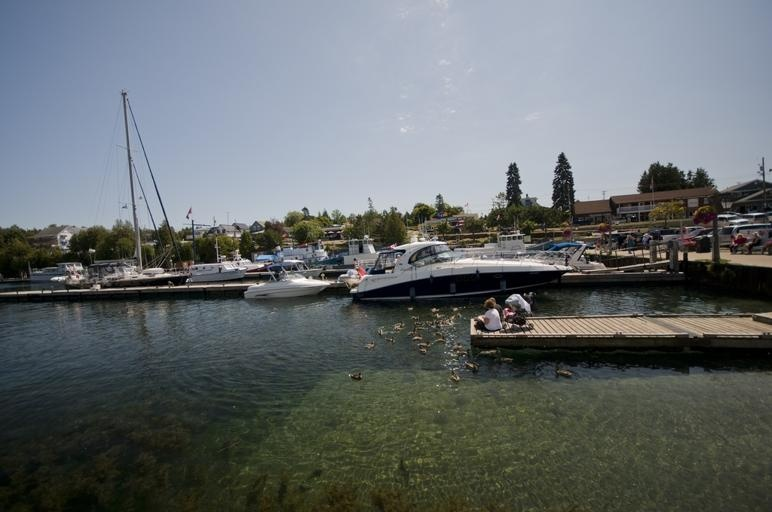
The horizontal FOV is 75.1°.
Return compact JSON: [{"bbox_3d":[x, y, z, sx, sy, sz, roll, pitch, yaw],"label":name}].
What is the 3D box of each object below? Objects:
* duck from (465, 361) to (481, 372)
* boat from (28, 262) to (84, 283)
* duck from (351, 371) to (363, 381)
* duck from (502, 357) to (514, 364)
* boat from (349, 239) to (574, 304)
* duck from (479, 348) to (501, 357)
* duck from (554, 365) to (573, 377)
[{"bbox_3d":[3.945,5.027,22.691,0.414,0.166,0.332,5,-5,-35],"label":"duck"},{"bbox_3d":[-50.078,2.628,76.530,11.173,3.402,2.763,-5,0,26],"label":"boat"},{"bbox_3d":[-1.370,5.450,22.777,0.629,0.212,0.896,-5,7,-6],"label":"duck"},{"bbox_3d":[5.546,4.837,23.128,0.252,0.109,0.322,2,4,10],"label":"duck"},{"bbox_3d":[5.517,1.259,36.506,19.024,5.508,6.737,-1,-1,11],"label":"boat"},{"bbox_3d":[4.884,4.616,23.831,1.012,0.240,0.465,-2,7,13],"label":"duck"},{"bbox_3d":[7.786,5.134,22.045,0.716,0.192,0.898,-2,7,18],"label":"duck"}]
